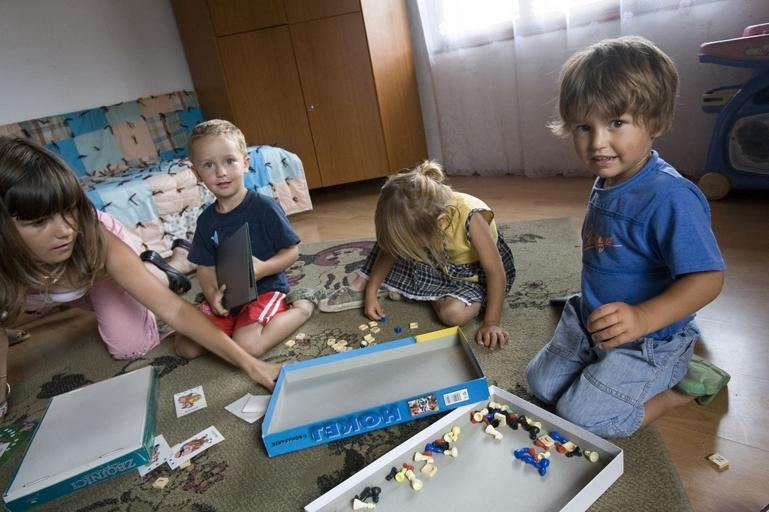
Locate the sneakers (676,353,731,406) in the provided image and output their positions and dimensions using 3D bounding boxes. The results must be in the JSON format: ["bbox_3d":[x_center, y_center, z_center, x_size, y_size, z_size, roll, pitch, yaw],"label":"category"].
[{"bbox_3d":[1.026,0.394,1.525,0.155,0.059,0.157,-32,41,-27],"label":"sneakers"}]

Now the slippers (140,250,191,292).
[{"bbox_3d":[-1.086,0.078,2.346,0.087,0.243,0.085,-46,14,1],"label":"slippers"}]

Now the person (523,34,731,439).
[{"bbox_3d":[0.717,-0.047,1.410,0.512,1.076,0.627,6,30,27],"label":"person"}]

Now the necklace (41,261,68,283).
[{"bbox_3d":[-1.211,0.068,1.744,0.065,0.066,0.083,-1,44,-16],"label":"necklace"}]

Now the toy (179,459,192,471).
[{"bbox_3d":[-0.647,0.672,1.524,0.026,0.007,0.025,16,37,27],"label":"toy"}]

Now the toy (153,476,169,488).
[{"bbox_3d":[-0.707,0.709,1.487,0.053,0.014,0.034,-5,26,7],"label":"toy"}]

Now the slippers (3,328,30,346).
[{"bbox_3d":[-1.810,0.394,2.318,0.095,0.048,0.133,-4,13,-43],"label":"slippers"}]

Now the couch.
[{"bbox_3d":[-1.577,-0.425,3.600,1.486,0.882,1.470,-33,47,-20],"label":"couch"}]
